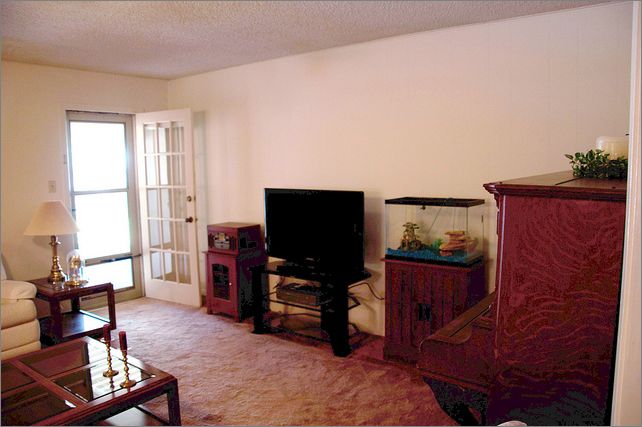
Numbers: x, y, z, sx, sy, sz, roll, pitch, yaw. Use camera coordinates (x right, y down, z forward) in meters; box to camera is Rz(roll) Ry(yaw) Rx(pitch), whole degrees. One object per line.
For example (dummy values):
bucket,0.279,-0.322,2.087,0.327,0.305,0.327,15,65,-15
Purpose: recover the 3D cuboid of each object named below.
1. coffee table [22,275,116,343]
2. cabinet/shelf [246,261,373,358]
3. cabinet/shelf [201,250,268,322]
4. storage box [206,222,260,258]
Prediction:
coffee table,-2.407,0.988,4.928,0.634,0.462,0.613,-5,0,-27
cabinet/shelf,-0.127,0.846,4.675,1.331,0.746,0.847,1,2,33
cabinet/shelf,-1.142,0.853,5.885,0.781,0.996,0.781,1,1,35
storage box,-0.960,0.200,5.468,0.596,0.268,0.362,6,8,44
